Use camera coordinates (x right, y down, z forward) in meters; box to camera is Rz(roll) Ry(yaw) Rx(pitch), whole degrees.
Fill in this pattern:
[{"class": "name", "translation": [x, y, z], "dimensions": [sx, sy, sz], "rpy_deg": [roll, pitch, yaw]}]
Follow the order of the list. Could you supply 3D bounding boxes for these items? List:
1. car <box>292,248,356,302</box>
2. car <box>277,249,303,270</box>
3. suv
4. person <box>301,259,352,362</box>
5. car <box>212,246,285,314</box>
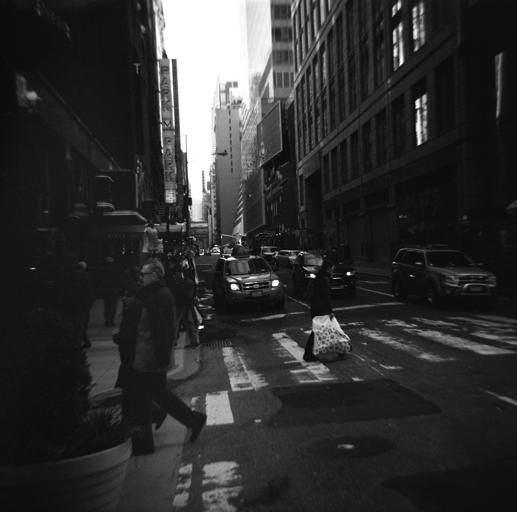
[{"class": "car", "translation": [2.340, 0.669, 19.973], "dimensions": [1.323, 1.702, 3.274], "rpy_deg": [-1, -1, -9]}, {"class": "car", "translation": [2.514, 0.246, 42.311], "dimensions": [1.050, 1.152, 2.488], "rpy_deg": [-2, -2, -18]}, {"class": "suv", "translation": [5.595, 0.556, 15.686], "dimensions": [1.366, 1.797, 3.420], "rpy_deg": [0, -3, -10]}, {"class": "person", "translation": [1.165, 0.935, 8.771], "dimensions": [0.673, 1.377, 0.669], "rpy_deg": [-3, 1, -38]}, {"class": "car", "translation": [-0.487, 0.893, 17.503], "dimensions": [1.258, 1.672, 2.783], "rpy_deg": [-2, -3, -11]}]
